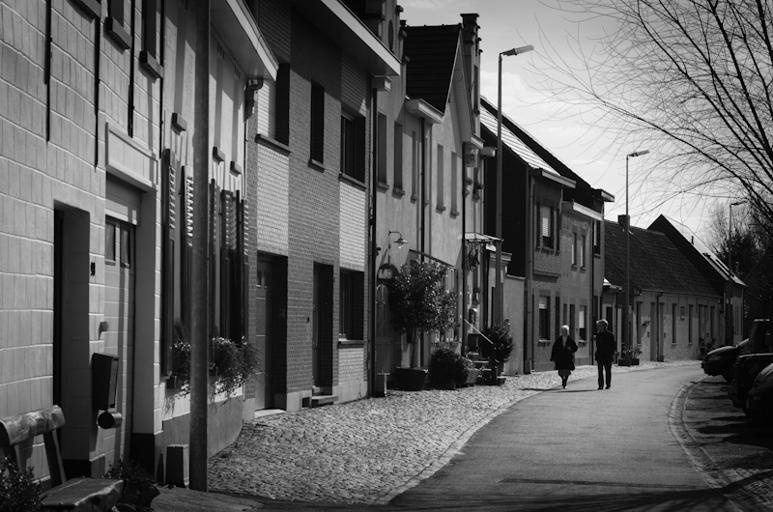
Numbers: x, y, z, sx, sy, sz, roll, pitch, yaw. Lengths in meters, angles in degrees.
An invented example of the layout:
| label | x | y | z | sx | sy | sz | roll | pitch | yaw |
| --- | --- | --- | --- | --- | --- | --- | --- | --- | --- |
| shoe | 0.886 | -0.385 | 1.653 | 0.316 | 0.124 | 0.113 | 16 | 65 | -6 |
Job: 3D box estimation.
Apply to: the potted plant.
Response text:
| label | x | y | z | sx | sy | sz | roll | pitch | yaw |
| --- | --- | --- | --- | --- | --- | --- | --- | --- | --- |
| potted plant | 1.053 | 1.500 | 25.083 | 1.600 | 3.094 | 2.274 | -6 | -11 | 16 |

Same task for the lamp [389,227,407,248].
| label | x | y | z | sx | sy | sz | roll | pitch | yaw |
| --- | --- | --- | --- | --- | --- | --- | --- | --- | --- |
| lamp | 0.306 | -0.498 | 24.916 | 0.513 | 0.581 | 0.398 | -4 | -6 | 37 |
